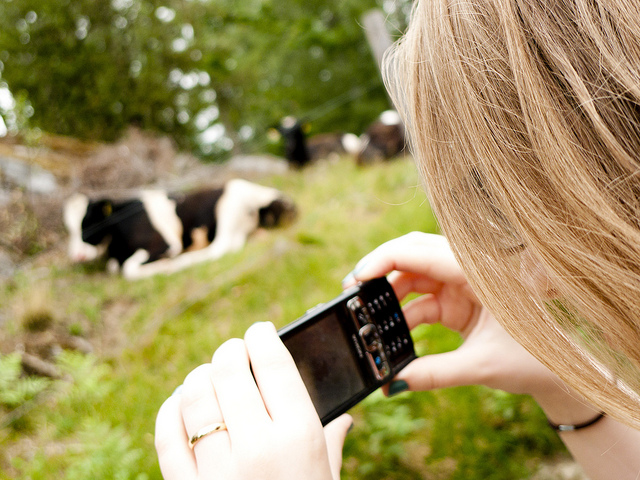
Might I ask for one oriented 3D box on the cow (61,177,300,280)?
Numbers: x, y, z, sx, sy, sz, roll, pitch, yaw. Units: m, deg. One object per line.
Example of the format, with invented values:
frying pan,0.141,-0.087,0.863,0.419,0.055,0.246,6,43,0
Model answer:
cow,-0.449,-0.048,2.158,0.705,0.249,0.303,-12,96,-17
